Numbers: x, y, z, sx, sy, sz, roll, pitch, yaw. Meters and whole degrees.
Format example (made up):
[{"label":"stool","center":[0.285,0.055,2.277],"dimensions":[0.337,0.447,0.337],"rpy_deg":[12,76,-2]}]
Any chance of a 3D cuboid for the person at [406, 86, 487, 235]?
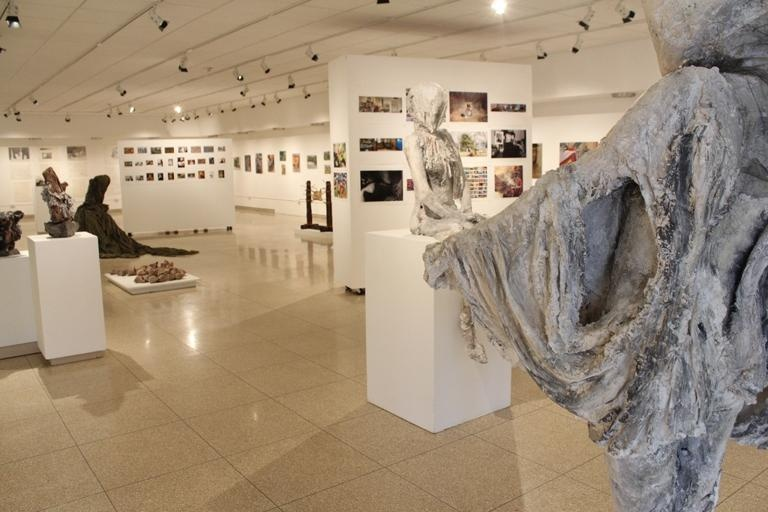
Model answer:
[{"label":"person","center":[0.573,-0.955,4.759],"dimensions":[0.710,1.460,0.856],"rpy_deg":[-1,11,3]}]
